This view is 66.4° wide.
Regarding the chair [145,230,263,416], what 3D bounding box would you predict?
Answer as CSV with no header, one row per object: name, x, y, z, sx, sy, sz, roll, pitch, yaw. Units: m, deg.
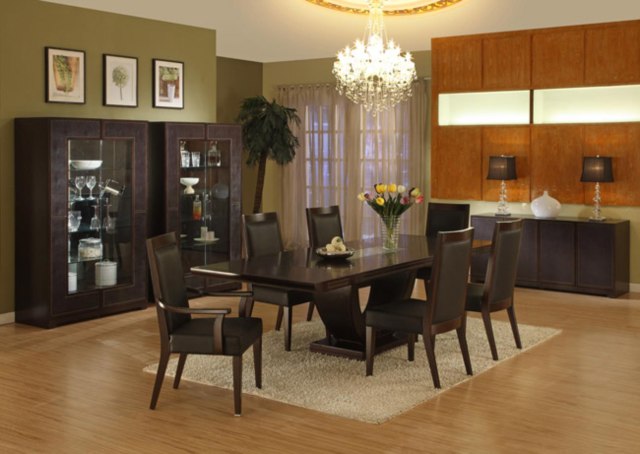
chair,-0.825,0.658,3.548,0.690,1.197,0.566,2,7,16

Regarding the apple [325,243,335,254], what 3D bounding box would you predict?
apple,0.086,0.183,4.205,0.056,0.081,0.075,-1,6,11

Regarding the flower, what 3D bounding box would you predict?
flower,0.684,-0.176,4.869,0.577,0.488,0.568,-6,4,-37

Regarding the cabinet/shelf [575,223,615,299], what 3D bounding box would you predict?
cabinet/shelf,3.659,0.487,6.507,0.412,0.881,0.289,-6,19,16

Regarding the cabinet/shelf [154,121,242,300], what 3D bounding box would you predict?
cabinet/shelf,-1.451,-0.254,6.256,0.978,1.859,0.477,-1,-7,-7

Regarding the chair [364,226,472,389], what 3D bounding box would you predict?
chair,0.834,0.601,4.101,0.765,1.200,0.790,-2,5,-33

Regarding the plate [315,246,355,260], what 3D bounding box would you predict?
plate,0.133,0.233,4.294,0.311,0.086,0.308,0,7,1

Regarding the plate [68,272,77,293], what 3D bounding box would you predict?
plate,-2.665,0.592,5.291,0.022,0.220,0.116,5,9,35

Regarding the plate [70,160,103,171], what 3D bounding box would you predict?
plate,-2.523,-0.666,5.304,0.041,0.115,0.341,4,8,31

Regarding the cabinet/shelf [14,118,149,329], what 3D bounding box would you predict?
cabinet/shelf,-2.641,-0.084,5.452,1.425,2.228,0.551,-5,8,-33

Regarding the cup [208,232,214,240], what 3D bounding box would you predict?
cup,-1.424,0.110,6.417,0.082,0.099,0.084,0,2,0

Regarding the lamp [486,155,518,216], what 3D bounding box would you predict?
lamp,2.625,-0.611,7.063,0.380,0.847,0.462,3,8,27

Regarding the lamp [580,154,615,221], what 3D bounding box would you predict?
lamp,3.675,-0.532,6.499,0.379,0.839,0.358,4,9,33

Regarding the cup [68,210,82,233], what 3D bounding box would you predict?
cup,-2.638,-0.066,5.267,0.170,0.197,0.165,1,1,0
